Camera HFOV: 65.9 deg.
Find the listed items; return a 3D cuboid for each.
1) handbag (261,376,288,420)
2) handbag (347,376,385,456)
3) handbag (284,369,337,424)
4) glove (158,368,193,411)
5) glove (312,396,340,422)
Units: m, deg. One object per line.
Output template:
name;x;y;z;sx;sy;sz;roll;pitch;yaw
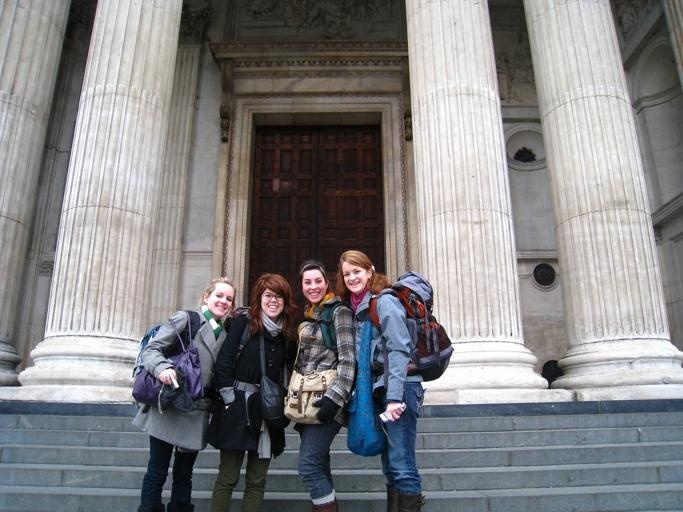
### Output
handbag;-0.628;1.336;4.894;0.118;0.298;0.299;-22;-27;28
handbag;0.223;1.427;4.660;0.332;0.657;0.191;1;-12;3
handbag;-0.255;1.254;4.665;0.381;0.397;0.217;-11;-35;26
glove;-1.457;1.205;4.703;0.377;0.309;0.166;-2;-25;-5
glove;-0.133;1.311;4.594;0.210;0.085;0.210;41;-26;-24
